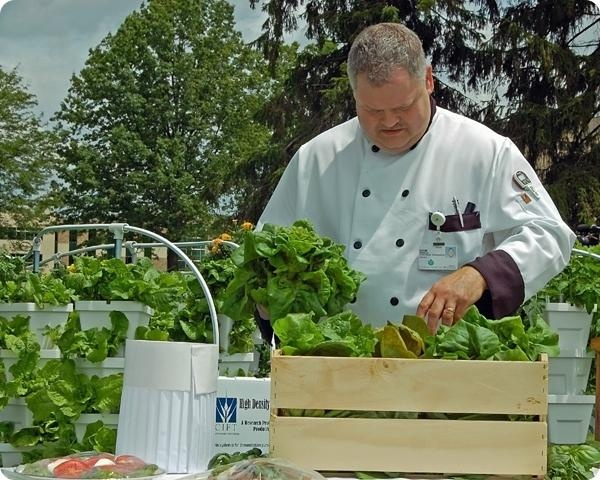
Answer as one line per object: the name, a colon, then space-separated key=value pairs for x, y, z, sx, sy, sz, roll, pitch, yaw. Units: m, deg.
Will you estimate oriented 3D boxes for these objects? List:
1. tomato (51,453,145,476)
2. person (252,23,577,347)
tomato: x=-0.799 y=0.905 z=3.306 sx=0.364 sy=0.058 sz=0.175 roll=-1 pitch=-1 yaw=-15
person: x=0.608 y=-0.306 z=4.239 sx=1.509 sy=1.082 sz=0.912 roll=-2 pitch=-1 yaw=20
